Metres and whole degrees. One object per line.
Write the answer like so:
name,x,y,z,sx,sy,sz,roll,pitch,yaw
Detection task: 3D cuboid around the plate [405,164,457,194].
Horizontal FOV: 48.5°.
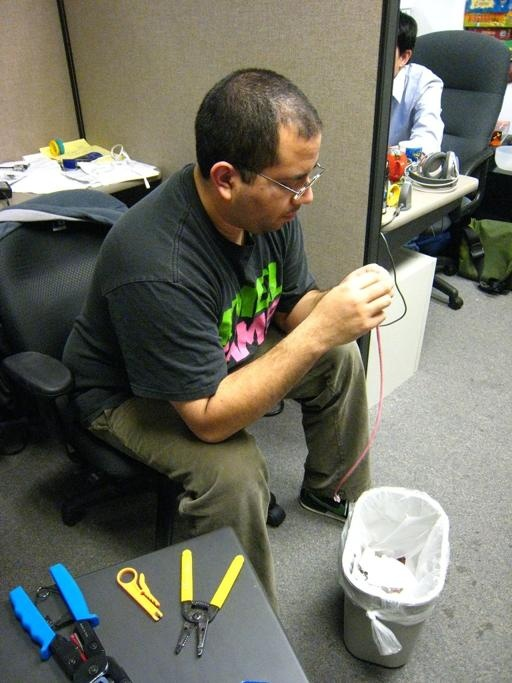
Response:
plate,0.573,-0.532,1.876,0.131,0.047,0.120,22,45,20

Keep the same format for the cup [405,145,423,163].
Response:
cup,0.554,-0.666,2.007,0.055,0.058,0.055,-1,28,0
